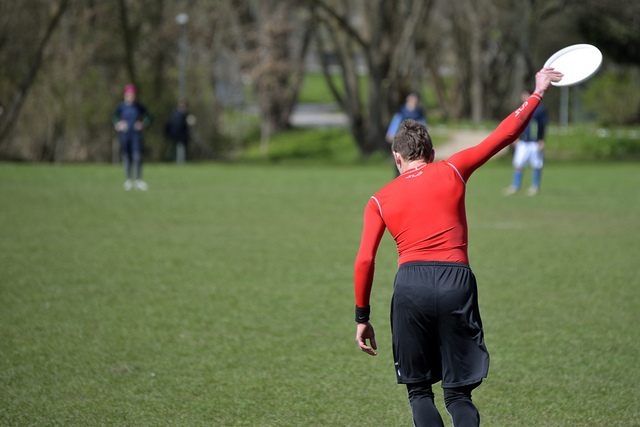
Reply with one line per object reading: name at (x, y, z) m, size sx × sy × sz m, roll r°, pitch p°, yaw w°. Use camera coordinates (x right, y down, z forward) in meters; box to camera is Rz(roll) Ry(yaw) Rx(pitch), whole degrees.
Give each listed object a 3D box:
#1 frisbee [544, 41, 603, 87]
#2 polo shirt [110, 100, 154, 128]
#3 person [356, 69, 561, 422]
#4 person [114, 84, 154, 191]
frisbee at (1.917, -1.143, 8.174) m, size 0.422 × 0.316 × 0.356 m, roll 2°, pitch 8°, yaw 9°
polo shirt at (-1.512, -0.798, 8.472) m, size 0.328 × 0.240 × 0.164 m, roll -1°, pitch 36°, yaw -6°
person at (0.873, 0.330, 7.850) m, size 1.220 × 2.272 × 0.678 m, roll 2°, pitch 7°, yaw 7°
person at (-1.520, -0.622, 8.461) m, size 0.297 × 0.814 × 0.289 m, roll -2°, pitch 4°, yaw 0°
